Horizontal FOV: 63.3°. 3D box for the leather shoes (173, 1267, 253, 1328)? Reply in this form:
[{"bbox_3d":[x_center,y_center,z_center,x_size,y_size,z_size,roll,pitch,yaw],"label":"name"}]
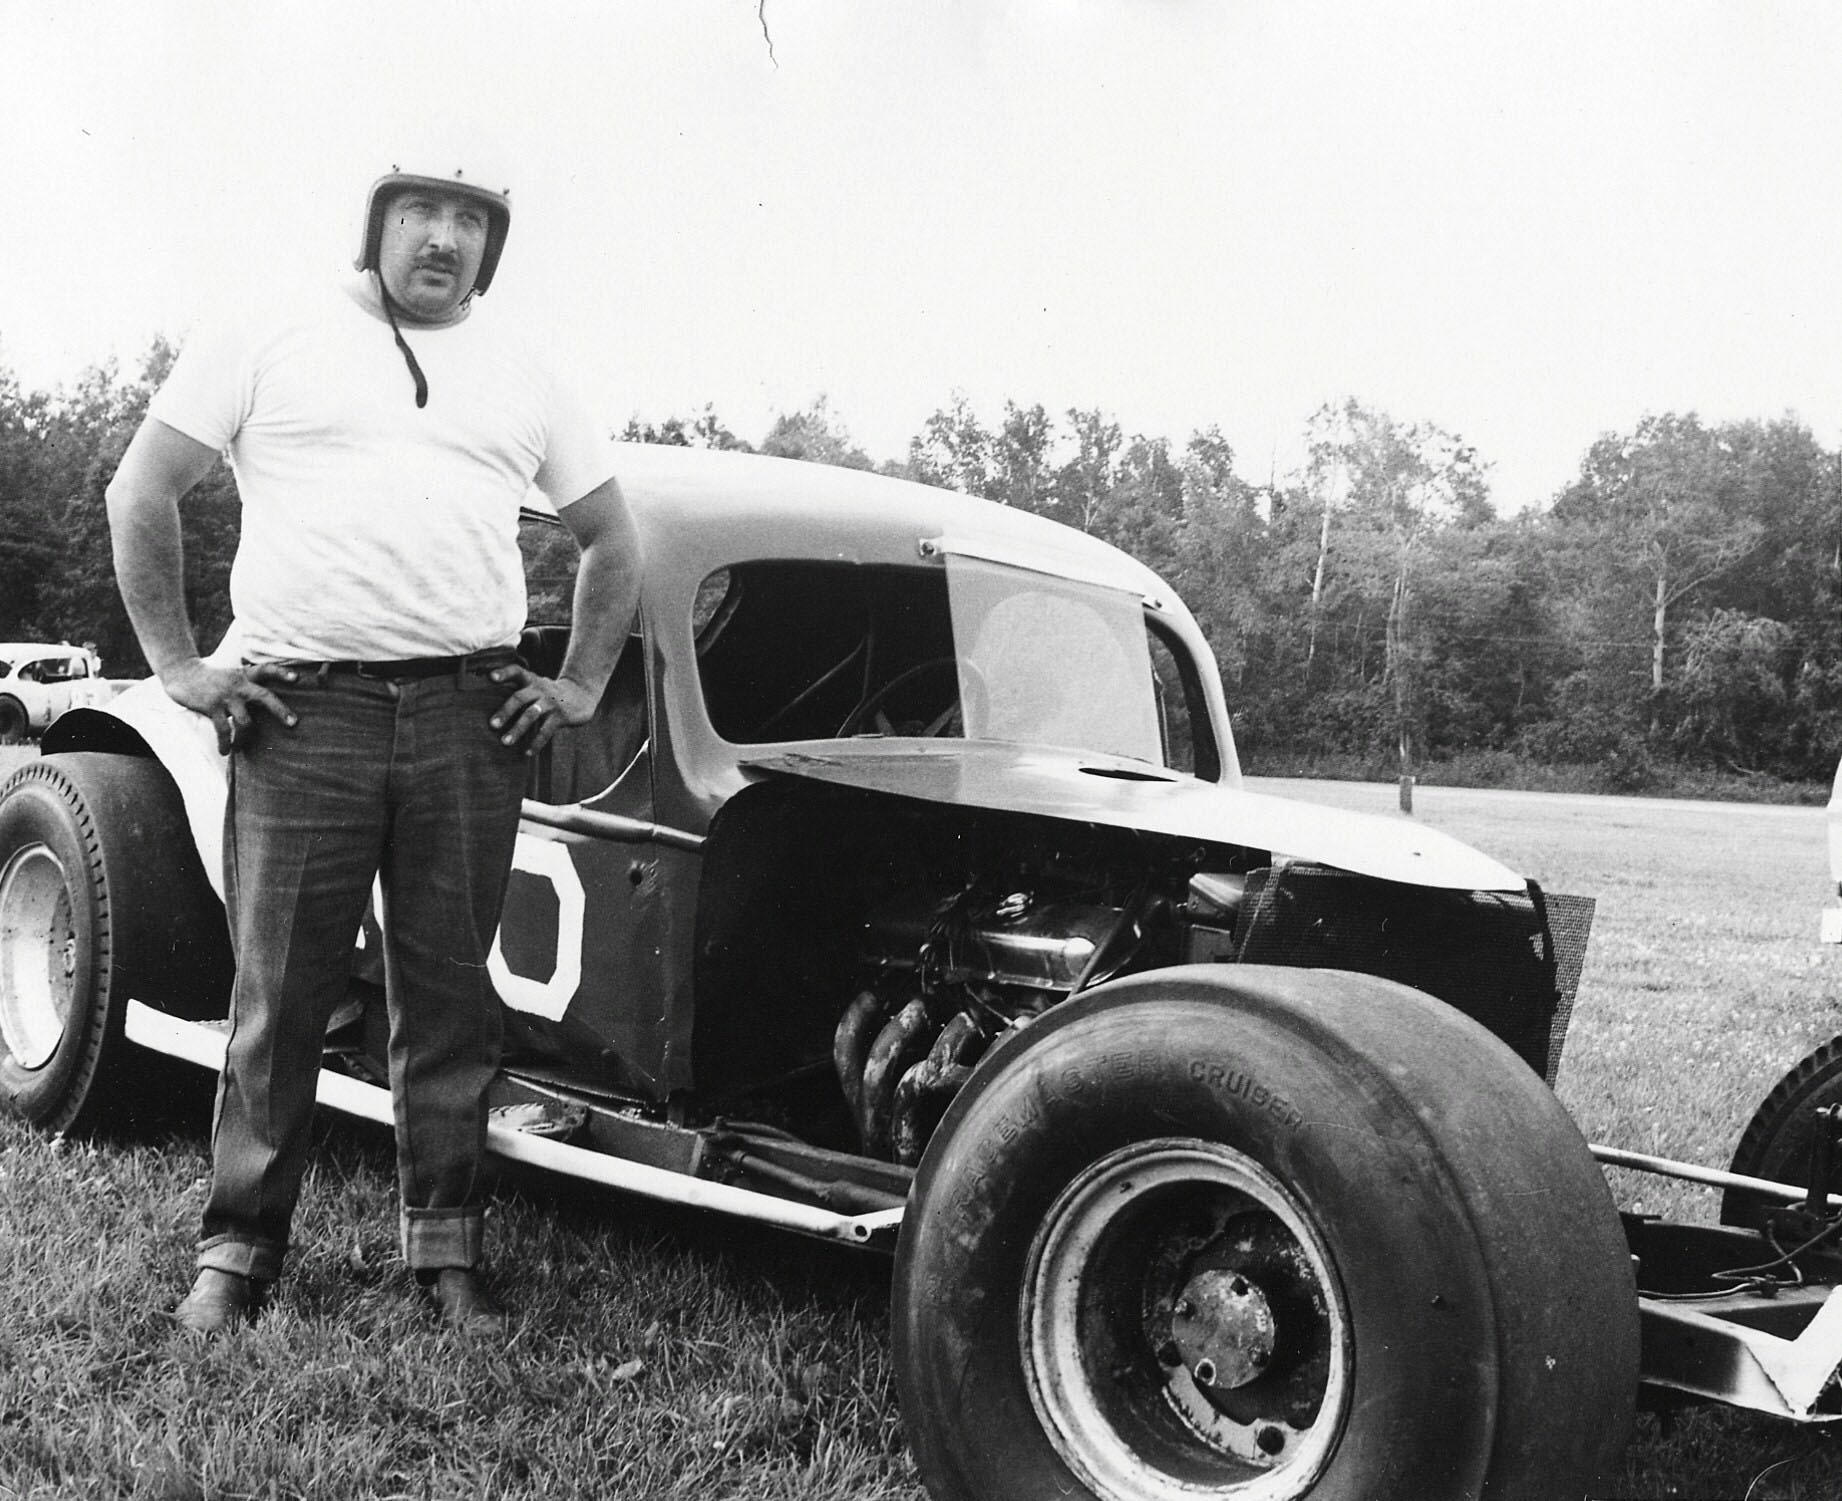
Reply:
[{"bbox_3d":[-1.432,1.104,3.022,0.147,0.106,0.122,2,3,-18],"label":"leather shoes"}]

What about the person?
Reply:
[{"bbox_3d":[-1.163,-0.055,3.161,1.049,2.433,0.390,2,3,-12],"label":"person"}]
